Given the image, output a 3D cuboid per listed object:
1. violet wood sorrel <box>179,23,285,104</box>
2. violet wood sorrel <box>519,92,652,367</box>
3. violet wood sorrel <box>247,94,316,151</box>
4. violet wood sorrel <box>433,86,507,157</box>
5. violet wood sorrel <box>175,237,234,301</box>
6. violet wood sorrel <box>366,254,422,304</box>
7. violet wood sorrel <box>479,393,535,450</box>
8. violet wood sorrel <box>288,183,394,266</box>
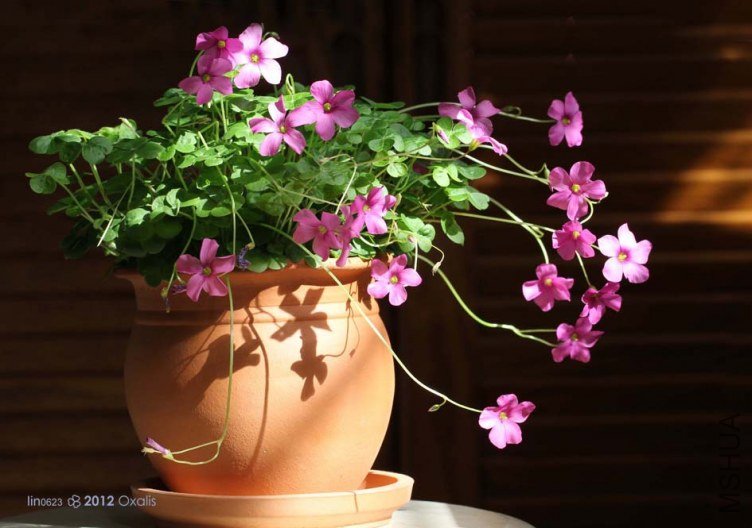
[{"bbox_3d":[-0.222,-0.313,1.193,0.167,0.113,0.064,-6,19,-13],"label":"violet wood sorrel"},{"bbox_3d":[0.319,-0.056,1.336,0.222,0.507,0.168,-6,-7,-10],"label":"violet wood sorrel"},{"bbox_3d":[-0.153,-0.213,1.190,0.089,0.092,0.106,-11,20,-25],"label":"violet wood sorrel"},{"bbox_3d":[0.161,-0.248,1.324,0.103,0.114,0.235,0,18,5],"label":"violet wood sorrel"},{"bbox_3d":[-0.259,0.001,1.166,0.095,0.094,0.031,-14,8,-8],"label":"violet wood sorrel"},{"bbox_3d":[0.023,0.019,1.223,0.087,0.027,0.089,11,17,-24],"label":"violet wood sorrel"},{"bbox_3d":[0.213,0.269,1.259,0.102,0.106,0.045,-5,7,-19],"label":"violet wood sorrel"},{"bbox_3d":[-0.051,-0.068,1.236,0.100,0.104,0.153,30,38,26],"label":"violet wood sorrel"}]
